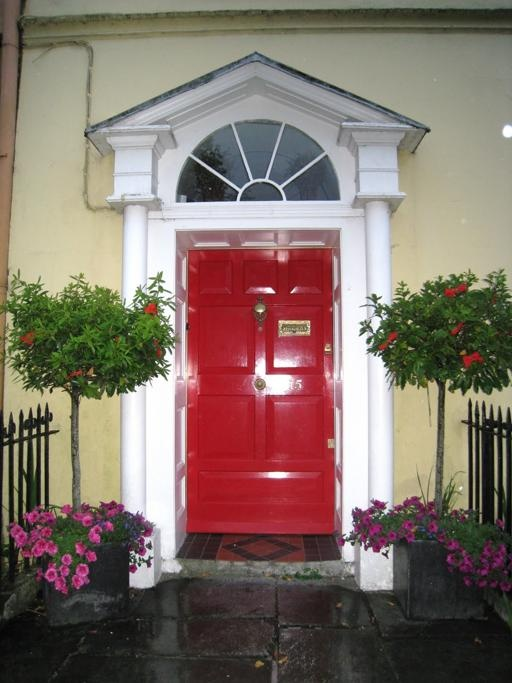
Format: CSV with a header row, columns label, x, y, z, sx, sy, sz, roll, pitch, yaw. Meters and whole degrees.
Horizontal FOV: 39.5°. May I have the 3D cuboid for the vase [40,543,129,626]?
label,x,y,z,sx,sy,sz,roll,pitch,yaw
vase,-1.007,1.579,4.292,0.506,0.454,0.380,9,-50,-22

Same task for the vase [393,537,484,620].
label,x,y,z,sx,sy,sz,roll,pitch,yaw
vase,1.028,1.411,4.303,0.595,0.541,0.433,-1,-10,4

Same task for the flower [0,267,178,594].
label,x,y,z,sx,sy,sz,roll,pitch,yaw
flower,-1.044,0.507,4.410,0.985,1.888,1.153,-5,10,-23
